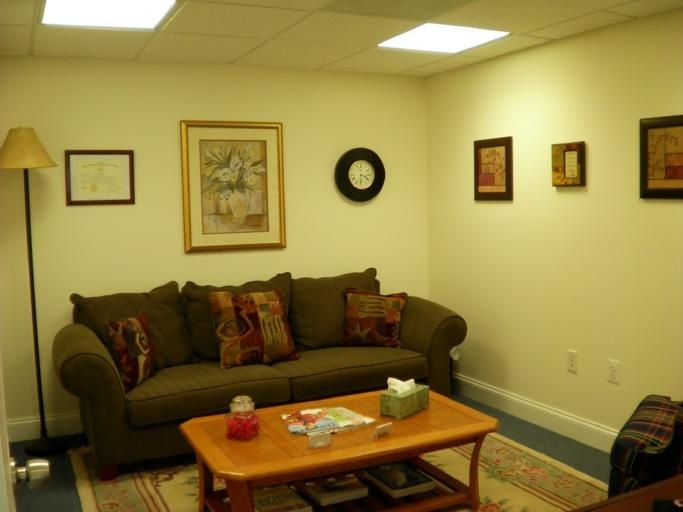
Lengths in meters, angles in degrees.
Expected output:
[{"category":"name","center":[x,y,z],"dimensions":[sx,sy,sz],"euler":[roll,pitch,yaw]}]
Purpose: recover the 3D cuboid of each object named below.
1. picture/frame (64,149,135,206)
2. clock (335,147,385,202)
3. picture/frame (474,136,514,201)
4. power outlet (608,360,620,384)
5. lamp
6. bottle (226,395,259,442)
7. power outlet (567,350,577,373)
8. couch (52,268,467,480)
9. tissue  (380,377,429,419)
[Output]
[{"category":"picture/frame","center":[-1.942,-0.622,4.218],"dimensions":[0.436,0.392,0.037],"euler":[-2,6,-21]},{"category":"clock","center":[0.172,-0.777,5.048],"dimensions":[0.526,0.482,0.541],"euler":[7,3,23]},{"category":"picture/frame","center":[1.297,-0.737,4.567],"dimensions":[0.082,0.520,0.426],"euler":[-6,10,-29]},{"category":"power outlet","center":[1.924,0.813,3.773],"dimensions":[0.013,0.175,0.099],"euler":[-6,10,-30]},{"category":"lamp","center":[-2.239,0.239,3.950],"dimensions":[0.363,2.346,0.600],"euler":[-5,10,-29]},{"category":"bottle","center":[-0.526,0.876,2.931],"dimensions":[0.189,0.214,0.192],"euler":[-7,1,35]},{"category":"power outlet","center":[1.741,0.791,4.033],"dimensions":[0.017,0.174,0.089],"euler":[-5,10,-27]},{"category":"couch","center":[-0.618,0.827,4.362],"dimensions":[3.242,1.259,1.175],"euler":[-1,1,-34]},{"category":"tissue ","center":[0.377,0.838,3.236],"dimensions":[0.161,0.201,0.310],"euler":[-2,0,39]}]
